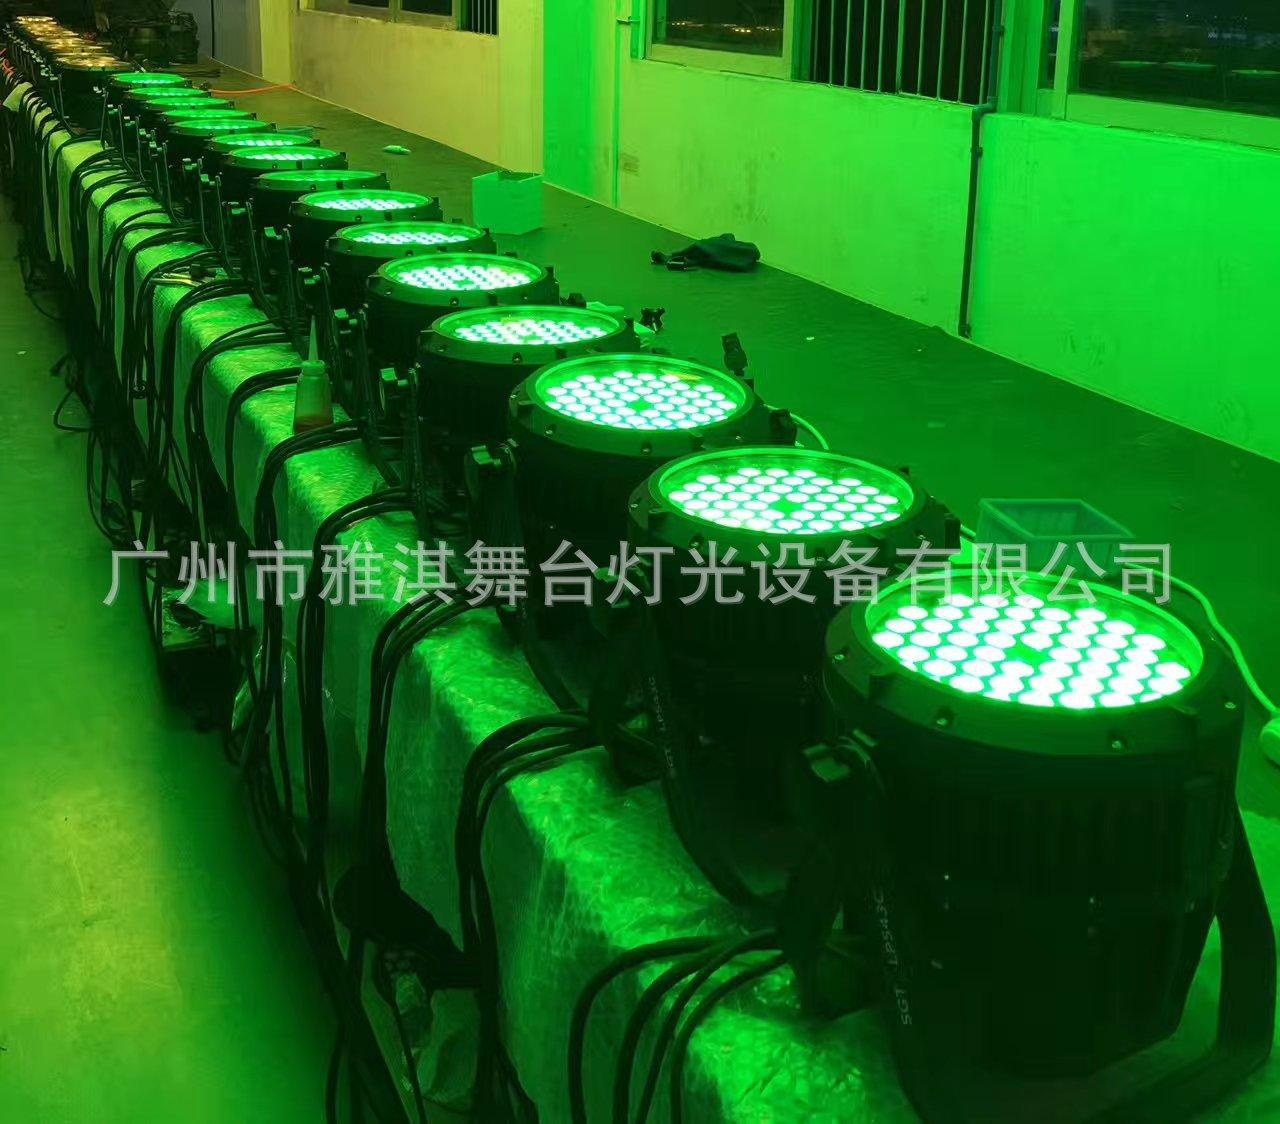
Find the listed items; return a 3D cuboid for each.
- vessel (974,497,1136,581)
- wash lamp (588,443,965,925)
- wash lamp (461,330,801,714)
[{"bbox_3d":[0.383,-0.025,1.164,0.116,0.042,0.125,5,23,-5],"label":"vessel"},{"bbox_3d":[0.035,0.079,0.896,0.267,0.285,0.281,-5,32,-7],"label":"wash lamp"},{"bbox_3d":[-0.037,-0.070,1.066,0.269,0.211,0.308,-5,29,-14],"label":"wash lamp"}]
